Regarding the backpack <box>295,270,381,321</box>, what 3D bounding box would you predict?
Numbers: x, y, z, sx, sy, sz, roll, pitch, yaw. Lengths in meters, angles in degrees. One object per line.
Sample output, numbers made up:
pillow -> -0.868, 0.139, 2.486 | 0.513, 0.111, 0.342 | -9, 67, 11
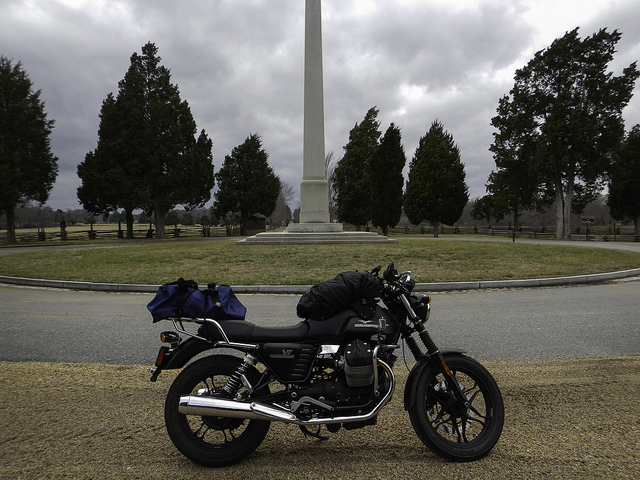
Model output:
backpack -> 0.208, 0.665, 6.915 | 0.977, 0.354, 0.518 | -28, 28, -9

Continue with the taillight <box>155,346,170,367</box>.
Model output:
taillight -> -1.942, 1.431, 6.854 | 0.166, 0.258, 0.133 | 2, 1, 19

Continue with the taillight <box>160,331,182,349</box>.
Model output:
taillight -> -1.840, 1.233, 6.915 | 0.225, 0.216, 0.232 | 2, 1, -18

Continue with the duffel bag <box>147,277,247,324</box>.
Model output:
duffel bag -> -1.489, 0.730, 6.848 | 1.125, 0.548, 0.341 | 2, 1, -1
